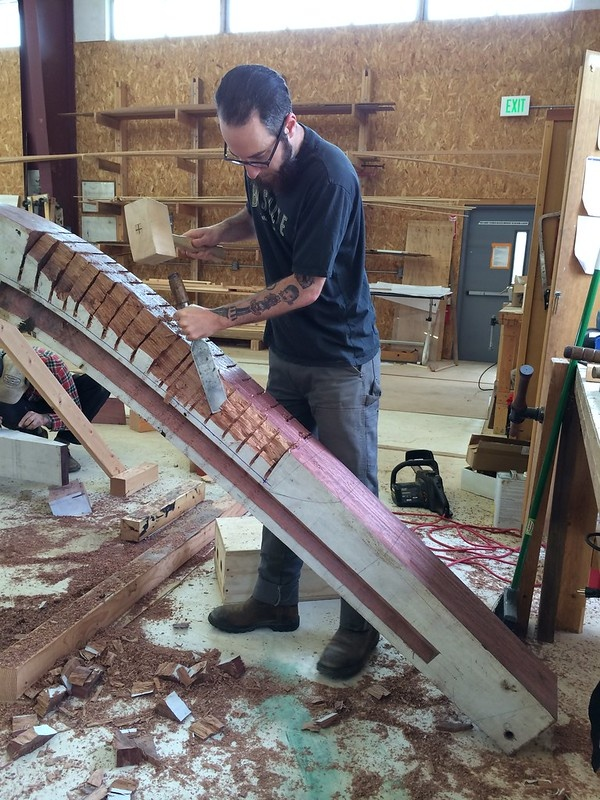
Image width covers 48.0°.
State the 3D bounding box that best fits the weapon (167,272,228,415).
[{"bbox_3d":[-0.255,-0.189,1.658,0.077,0.482,0.051,-13,-29,-8],"label":"weapon"}]

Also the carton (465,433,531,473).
[{"bbox_3d":[1.101,0.295,3.752,0.248,0.141,0.242,3,3,5],"label":"carton"}]

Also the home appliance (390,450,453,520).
[{"bbox_3d":[0.598,0.435,3.461,0.165,0.192,0.517,-3,6,-14],"label":"home appliance"}]

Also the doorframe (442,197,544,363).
[{"bbox_3d":[2.400,-1.457,8.521,0.813,1.957,0.258,7,15,15],"label":"doorframe"}]

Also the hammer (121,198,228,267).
[{"bbox_3d":[-0.348,-0.435,1.789,0.099,0.166,0.301,-8,1,21],"label":"hammer"}]

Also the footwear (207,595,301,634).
[{"bbox_3d":[-0.163,0.699,2.336,0.297,0.192,0.122,5,7,-4],"label":"footwear"}]

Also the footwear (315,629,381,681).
[{"bbox_3d":[0.146,0.772,2.095,0.082,0.089,0.228,18,12,23],"label":"footwear"}]
